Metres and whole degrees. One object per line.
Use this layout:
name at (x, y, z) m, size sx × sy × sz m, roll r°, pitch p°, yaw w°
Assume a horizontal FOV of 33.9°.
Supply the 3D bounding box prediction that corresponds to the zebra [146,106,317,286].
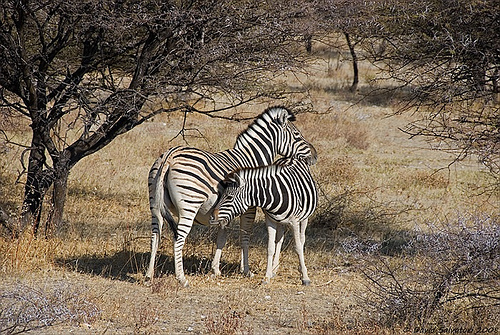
zebra at (-0.387, 0.567, 16.992) m, size 4.099 × 3.572 × 1.336 m, roll -1°, pitch 3°, yaw -43°
